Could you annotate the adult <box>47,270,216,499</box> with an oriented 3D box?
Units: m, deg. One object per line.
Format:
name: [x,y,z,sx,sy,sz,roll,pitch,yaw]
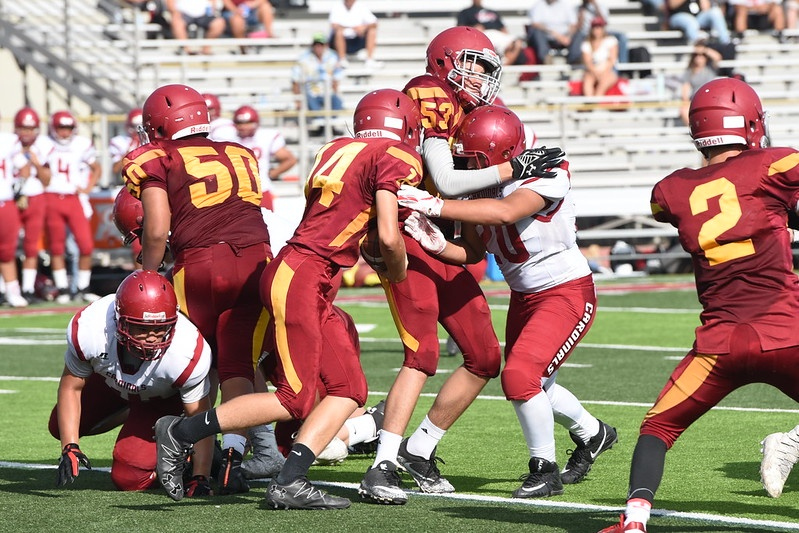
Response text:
adult: [-1.460,0.619,7.124,1.206,1.398,1.242,6,6,-9]

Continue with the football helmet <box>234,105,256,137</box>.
football helmet: [-1.665,-1.596,12.683,0.253,0.294,0.339,0,17,-6]

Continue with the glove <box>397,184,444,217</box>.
glove: [0.105,-0.361,6.400,0.249,0.142,0.086,23,1,-15]

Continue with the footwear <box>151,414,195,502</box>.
footwear: [-1.215,1.013,6.326,0.231,0.469,0.161,-8,1,19]

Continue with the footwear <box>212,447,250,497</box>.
footwear: [-0.978,1.187,6.891,0.160,0.275,0.379,5,-8,2]

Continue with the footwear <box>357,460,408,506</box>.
footwear: [-0.088,1.221,6.585,0.178,0.217,0.476,14,-5,-22]

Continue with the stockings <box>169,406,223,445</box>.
stockings: [-1.082,0.859,6.251,0.244,0.091,0.177,-17,-12,10]

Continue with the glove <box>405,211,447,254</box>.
glove: [0.144,-0.191,6.612,0.270,0.159,0.065,46,-18,-22]

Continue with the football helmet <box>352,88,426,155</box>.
football helmet: [-0.044,-0.869,6.706,0.297,0.366,0.395,5,8,42]

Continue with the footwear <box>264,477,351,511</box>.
footwear: [-0.499,1.241,6.440,0.478,0.185,0.176,1,-2,-11]

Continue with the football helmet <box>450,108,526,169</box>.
football helmet: [0.513,-0.774,6.788,0.452,0.351,0.323,-12,29,-32]

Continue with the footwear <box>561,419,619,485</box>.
footwear: [1.149,1.126,7.036,0.178,0.358,0.124,44,-7,-27]

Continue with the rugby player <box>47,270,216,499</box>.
rugby player: [-1.559,0.632,7.102,1.206,1.398,1.242,6,6,-9]

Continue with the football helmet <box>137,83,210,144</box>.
football helmet: [-1.381,-0.942,7.196,0.382,0.397,0.491,-12,20,-30]

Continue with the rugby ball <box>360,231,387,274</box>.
rugby ball: [-0.146,-0.113,6.704,0.177,0.125,0.226,8,-23,2]

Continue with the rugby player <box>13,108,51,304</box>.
rugby player: [-4.359,-0.795,13.898,0.384,2.119,0.798,-2,4,-17]

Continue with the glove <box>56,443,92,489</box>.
glove: [-1.814,1.101,6.540,0.212,0.248,0.090,-4,-26,1]

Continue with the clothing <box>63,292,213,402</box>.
clothing: [-1.437,0.362,6.545,0.584,0.312,0.739,15,-26,-8]

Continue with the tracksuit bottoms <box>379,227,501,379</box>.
tracksuit bottoms: [0.179,0.281,6.904,0.585,0.914,0.253,-18,-4,-29]

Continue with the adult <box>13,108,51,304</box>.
adult: [-4.360,-0.790,13.901,0.384,2.129,0.803,-2,4,-17]

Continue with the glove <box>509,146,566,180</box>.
glove: [0.759,-0.571,6.489,0.297,0.172,0.138,0,4,7]

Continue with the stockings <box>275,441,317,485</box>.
stockings: [-0.552,1.029,6.397,0.140,0.121,0.331,-41,9,27]

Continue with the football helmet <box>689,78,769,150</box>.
football helmet: [1.721,-0.798,6.137,0.322,0.344,0.448,-5,0,39]

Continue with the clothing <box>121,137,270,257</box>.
clothing: [-1.243,-0.445,7.155,0.764,0.644,0.736,-5,4,-14]

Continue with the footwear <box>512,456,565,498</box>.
footwear: [0.806,1.209,6.615,0.380,0.222,0.141,-1,-1,-29]

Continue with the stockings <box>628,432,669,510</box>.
stockings: [1.233,1.004,5.806,0.180,0.306,0.254,1,4,16]

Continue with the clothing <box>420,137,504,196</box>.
clothing: [0.355,-0.561,6.622,0.241,0.375,0.285,-17,8,-17]

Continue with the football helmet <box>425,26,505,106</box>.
football helmet: [0.383,-1.320,7.441,0.514,0.464,0.406,16,12,17]
